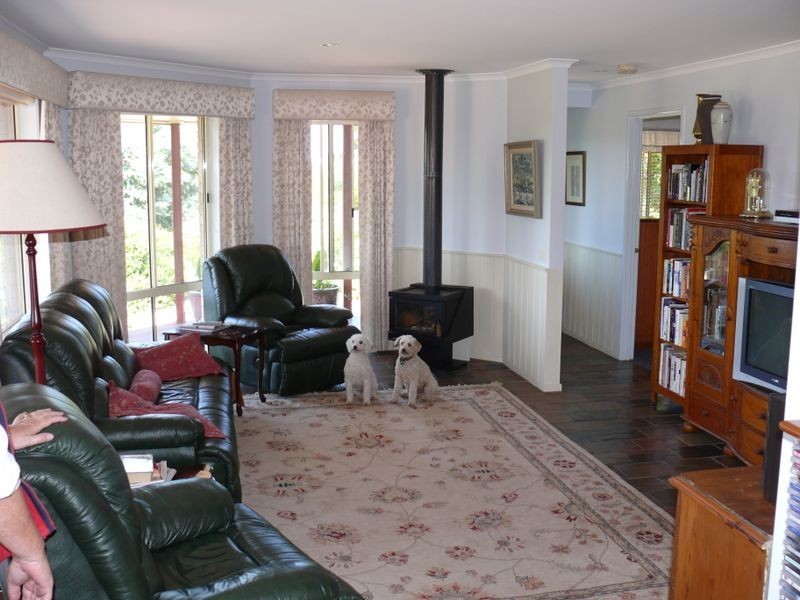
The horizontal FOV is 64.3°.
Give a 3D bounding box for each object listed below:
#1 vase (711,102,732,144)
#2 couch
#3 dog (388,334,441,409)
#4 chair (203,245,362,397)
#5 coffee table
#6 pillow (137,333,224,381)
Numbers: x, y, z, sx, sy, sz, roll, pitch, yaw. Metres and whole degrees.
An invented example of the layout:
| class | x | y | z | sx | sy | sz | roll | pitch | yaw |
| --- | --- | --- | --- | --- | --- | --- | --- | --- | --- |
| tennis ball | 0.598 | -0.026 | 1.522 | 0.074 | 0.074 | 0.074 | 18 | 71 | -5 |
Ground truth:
| class | x | y | z | sx | sy | sz | roll | pitch | yaw |
| --- | --- | --- | --- | --- | --- | --- | --- | --- | --- |
| vase | 2.669 | -1.478 | 5.314 | 0.215 | 0.345 | 0.122 | -11 | 14 | -42 |
| couch | -1.524 | 0.474 | 3.556 | 0.814 | 0.674 | 1.379 | 0 | 13 | -19 |
| dog | 0.138 | 0.633 | 5.895 | 0.373 | 0.611 | 0.467 | 8 | 11 | 41 |
| chair | -1.150 | 0.164 | 6.276 | 1.191 | 1.183 | 1.050 | 12 | 16 | 41 |
| coffee table | -1.474 | 0.508 | 5.771 | 0.696 | 0.615 | 0.593 | 5 | 19 | 38 |
| pillow | -1.689 | 0.462 | 4.828 | 0.413 | 0.111 | 0.408 | -11 | 42 | -30 |
